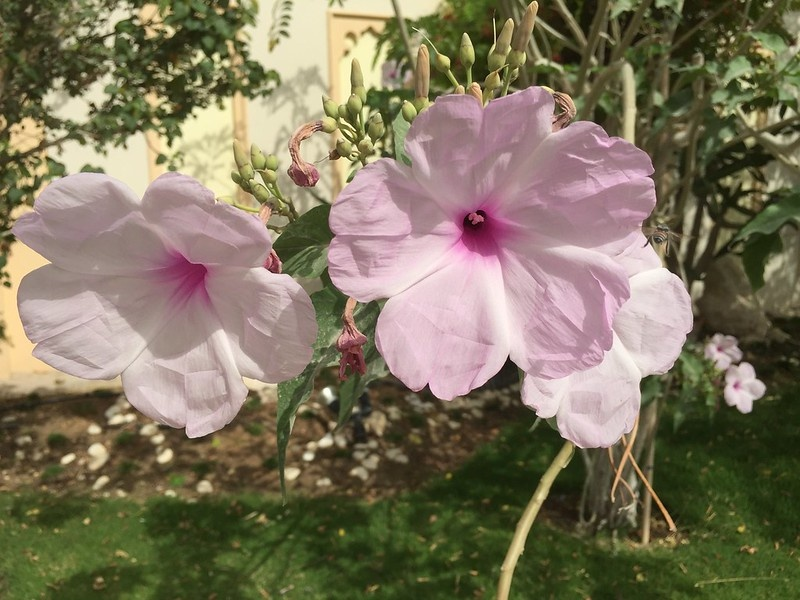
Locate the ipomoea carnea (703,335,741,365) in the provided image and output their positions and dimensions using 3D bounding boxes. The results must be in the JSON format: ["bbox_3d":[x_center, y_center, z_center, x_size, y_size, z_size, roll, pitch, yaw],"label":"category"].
[{"bbox_3d":[2.146,0.323,4.973,0.214,0.207,0.348,0,23,22],"label":"ipomoea carnea"}]

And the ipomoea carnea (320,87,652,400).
[{"bbox_3d":[0.243,-0.146,2.138,0.793,0.893,0.393,14,23,-10],"label":"ipomoea carnea"}]

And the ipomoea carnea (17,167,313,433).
[{"bbox_3d":[-0.665,-0.139,2.132,0.715,0.827,0.359,3,50,-2],"label":"ipomoea carnea"}]
